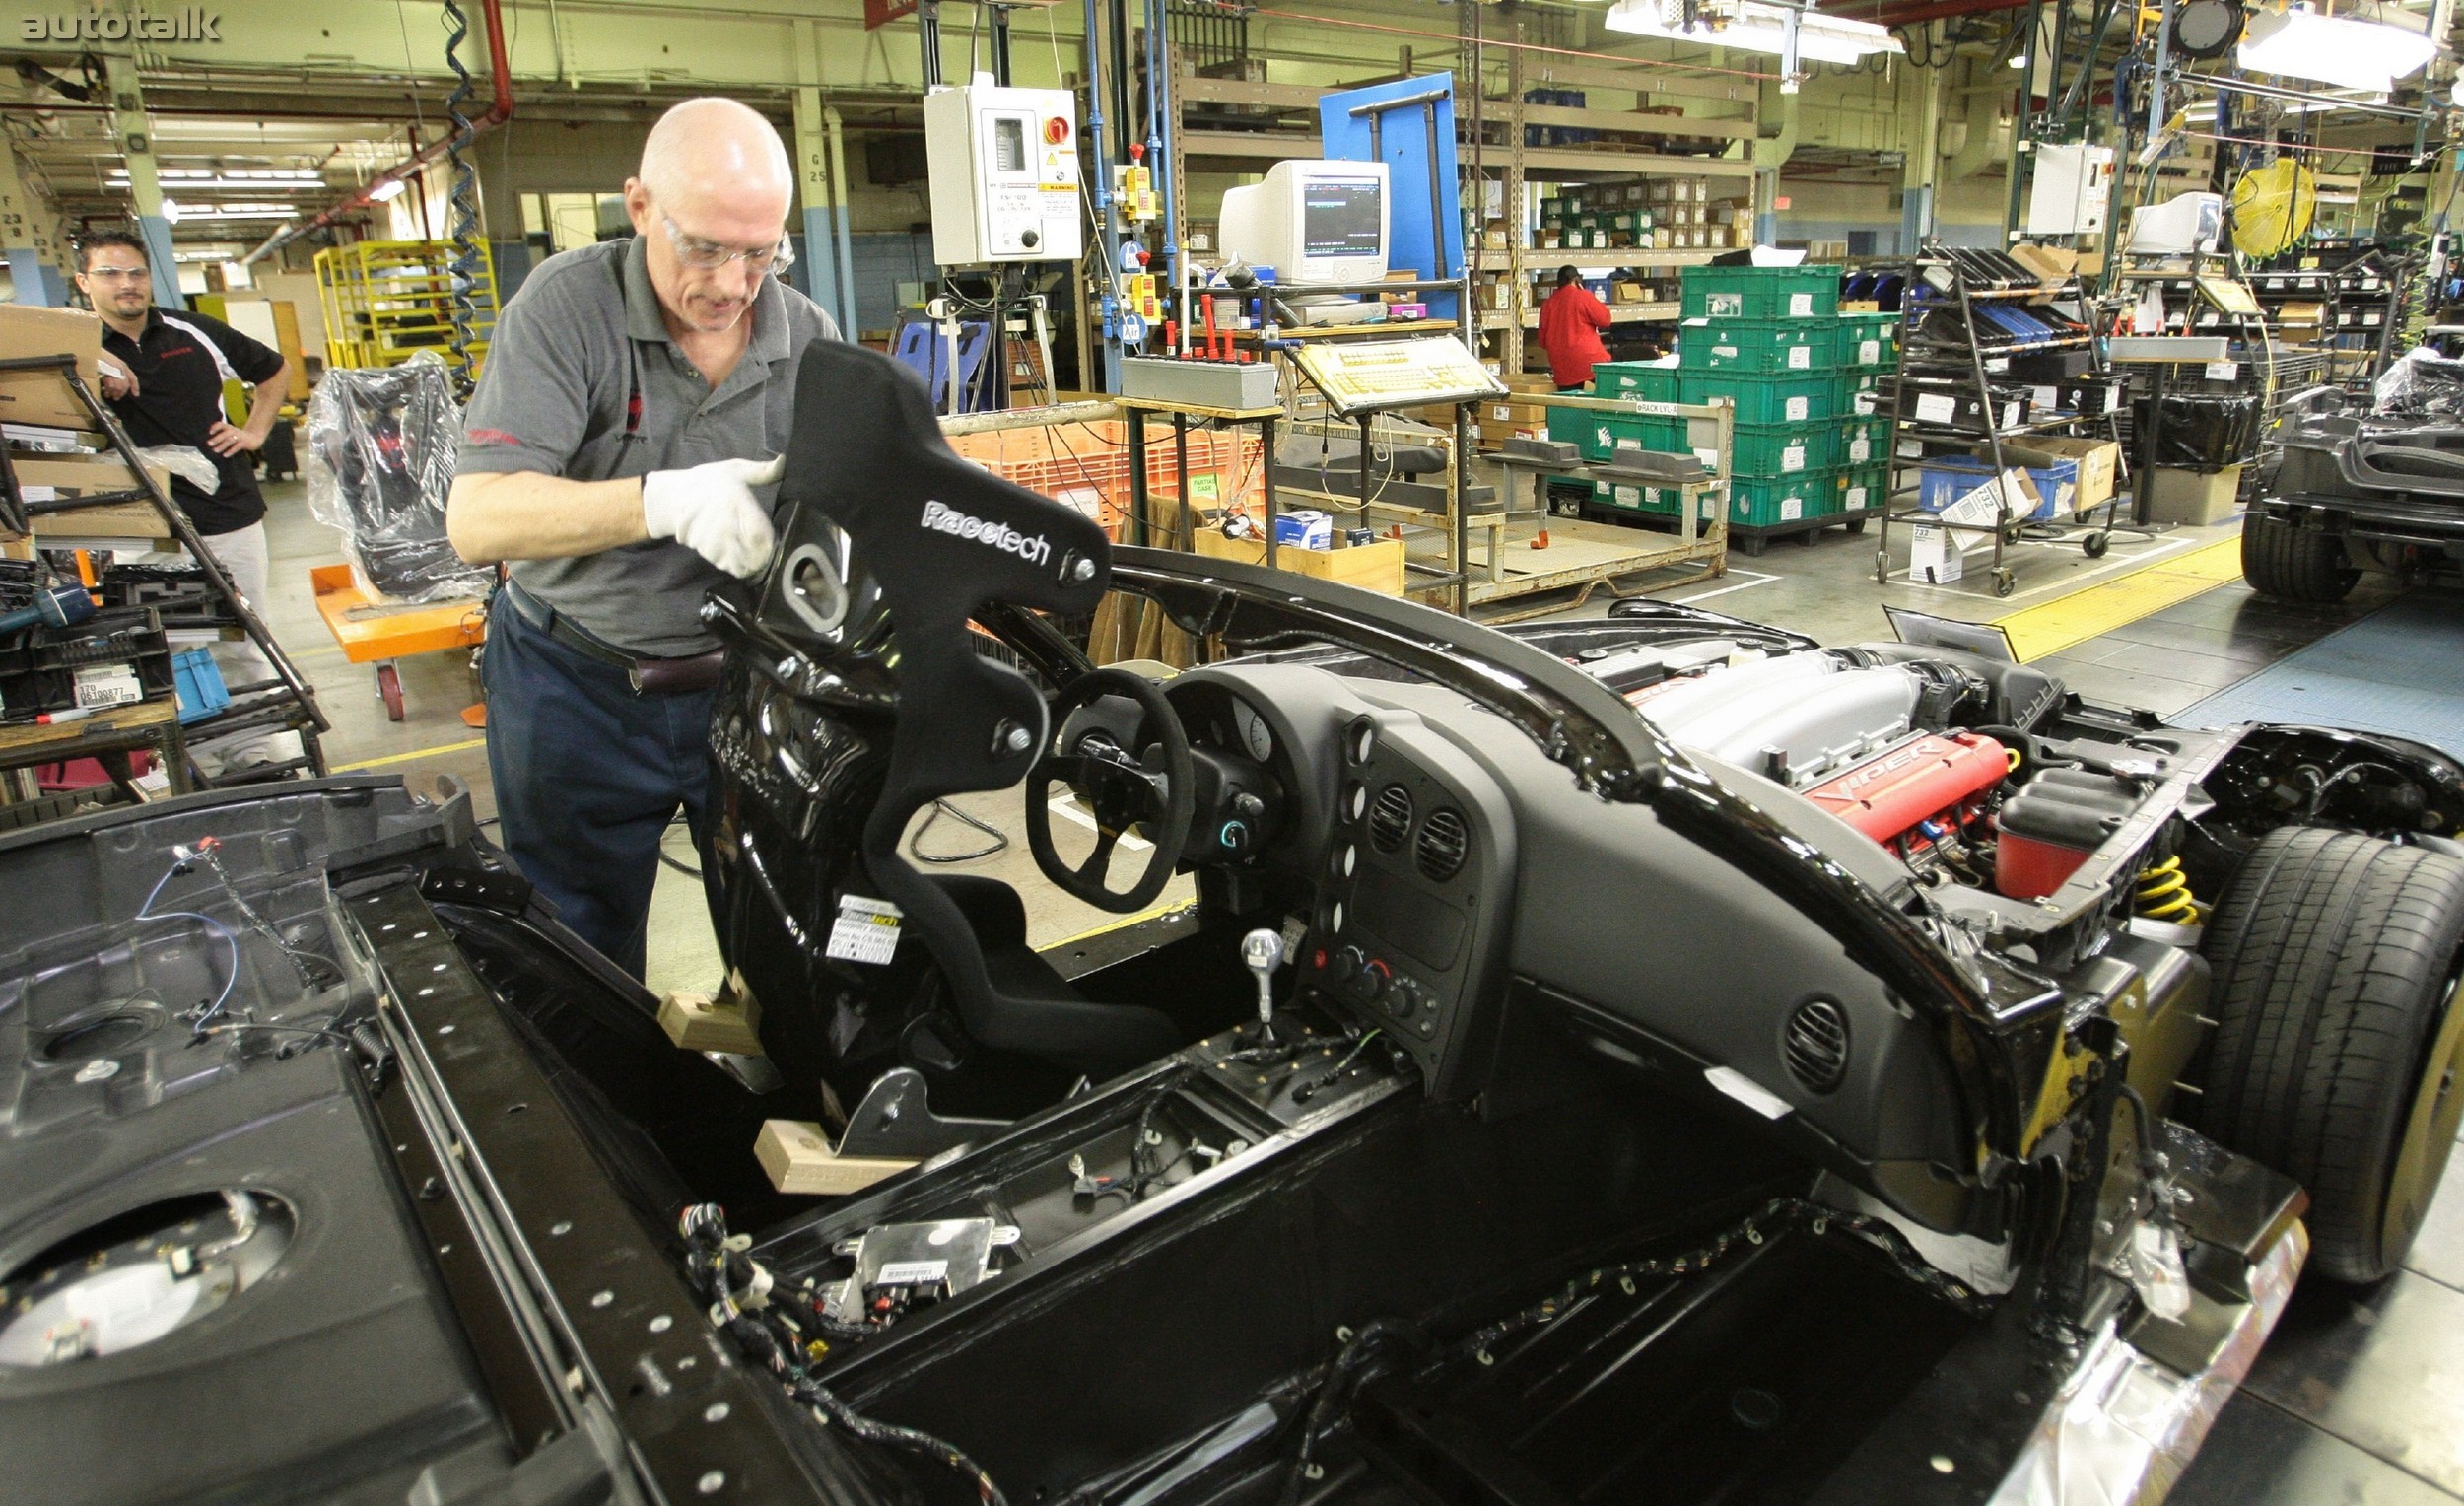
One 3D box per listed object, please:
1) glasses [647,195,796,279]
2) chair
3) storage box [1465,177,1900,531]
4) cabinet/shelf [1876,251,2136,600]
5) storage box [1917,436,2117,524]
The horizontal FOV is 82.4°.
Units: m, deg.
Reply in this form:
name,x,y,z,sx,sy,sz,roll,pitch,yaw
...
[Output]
name,x,y,z,sx,sy,sz,roll,pitch,yaw
glasses,-1.049,-1.093,3.002,0.286,0.146,0.203,-19,26,-34
chair,-0.582,0.028,2.972,0.957,1.397,0.999,5,9,-21
storage box,3.253,-2.725,10.220,2.357,2.142,2.309,-9,14,-43
cabinet/shelf,4.865,-2.038,8.865,0.939,2.136,2.236,12,21,42
storage box,4.986,-1.732,8.868,1.155,0.396,0.692,-22,28,-38
